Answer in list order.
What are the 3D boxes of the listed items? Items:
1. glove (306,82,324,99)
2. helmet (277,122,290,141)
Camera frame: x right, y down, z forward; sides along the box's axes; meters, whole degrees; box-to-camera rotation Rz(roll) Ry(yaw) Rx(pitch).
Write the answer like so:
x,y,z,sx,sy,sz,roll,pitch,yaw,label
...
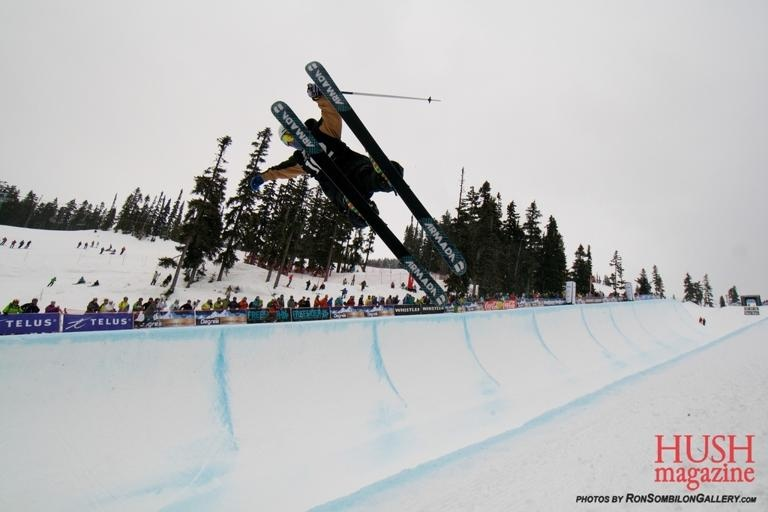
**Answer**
x,y,z,sx,sy,sz,roll,pitch,yaw,label
-2.158,-5.127,14.373,0.465,0.489,0.223,5,-11,-19,glove
-3.187,-3.903,14.832,0.455,0.600,0.595,4,-11,-13,helmet
